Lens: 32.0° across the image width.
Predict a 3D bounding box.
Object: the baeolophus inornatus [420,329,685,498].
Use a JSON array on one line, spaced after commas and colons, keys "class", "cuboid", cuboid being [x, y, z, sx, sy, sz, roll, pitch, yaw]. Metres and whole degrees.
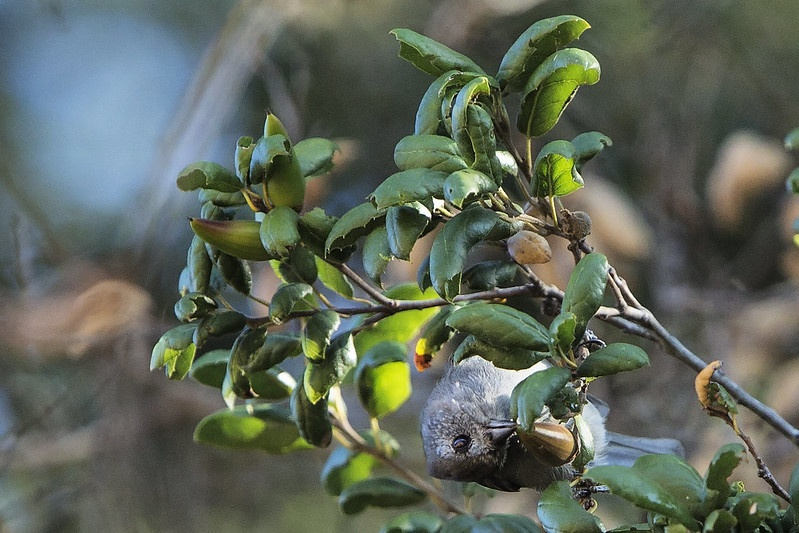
[{"class": "baeolophus inornatus", "cuboid": [0.311, 0.330, 3.087, 0.468, 0.395, 0.255, -5, 10, -14]}]
